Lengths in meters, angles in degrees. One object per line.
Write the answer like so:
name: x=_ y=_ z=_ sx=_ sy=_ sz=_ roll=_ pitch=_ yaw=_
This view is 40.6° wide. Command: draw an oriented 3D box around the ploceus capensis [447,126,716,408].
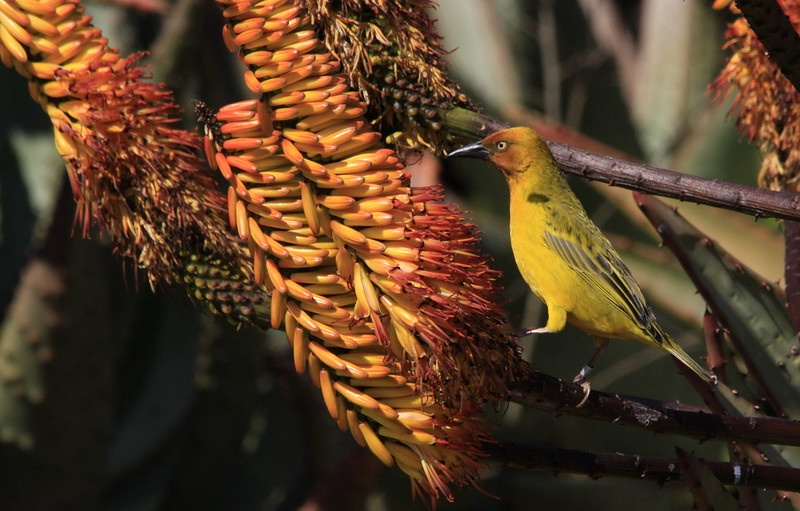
ploceus capensis: x=0.293 y=-0.034 z=1.916 sx=0.405 sy=0.392 sz=0.162 roll=0 pitch=13 yaw=2
